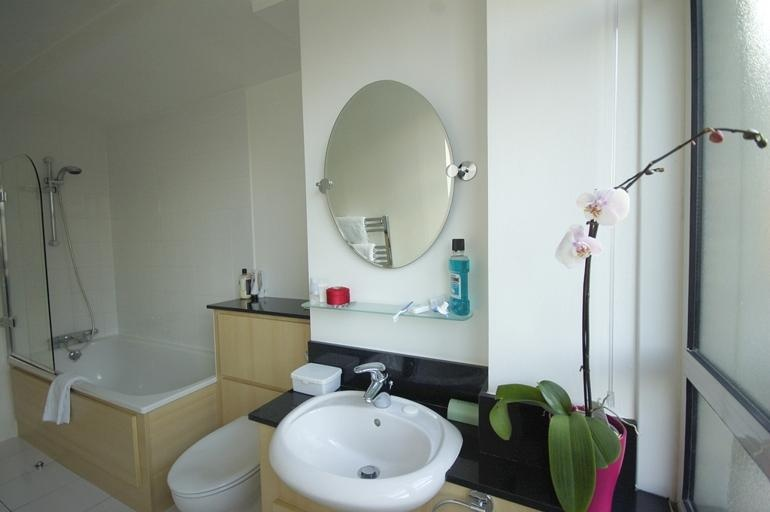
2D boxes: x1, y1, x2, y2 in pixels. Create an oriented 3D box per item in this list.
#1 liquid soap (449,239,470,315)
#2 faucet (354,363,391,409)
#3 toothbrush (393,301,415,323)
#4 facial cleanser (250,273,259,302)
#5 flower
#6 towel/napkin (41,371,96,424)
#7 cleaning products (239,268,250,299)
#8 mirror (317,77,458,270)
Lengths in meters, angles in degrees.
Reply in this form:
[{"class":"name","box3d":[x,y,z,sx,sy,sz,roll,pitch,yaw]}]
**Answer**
[{"class":"liquid soap","box3d":[0.368,0.107,2.718,0.105,0.376,0.101,0,5,9]},{"class":"faucet","box3d":[-0.049,0.650,2.711,0.207,0.220,0.112,-4,-2,-41]},{"class":"toothbrush","box3d":[0.109,0.273,2.846,0.042,0.057,0.245,2,20,29]},{"class":"facial cleanser","box3d":[-0.873,0.208,3.714,0.057,0.175,0.148,-2,4,-12]},{"class":"flower","box3d":[0.899,0.281,2.321,0.911,1.553,0.344,-1,5,-2]},{"class":"towel/napkin","box3d":[-2.057,0.936,3.558,0.307,0.337,0.182,1,5,30]},{"class":"cleaning products","box3d":[-0.949,0.187,3.777,0.080,0.198,0.151,-2,4,-14]},{"class":"mirror","box3d":[0.041,-0.442,2.837,0.971,1.177,0.042,1,4,25]}]
